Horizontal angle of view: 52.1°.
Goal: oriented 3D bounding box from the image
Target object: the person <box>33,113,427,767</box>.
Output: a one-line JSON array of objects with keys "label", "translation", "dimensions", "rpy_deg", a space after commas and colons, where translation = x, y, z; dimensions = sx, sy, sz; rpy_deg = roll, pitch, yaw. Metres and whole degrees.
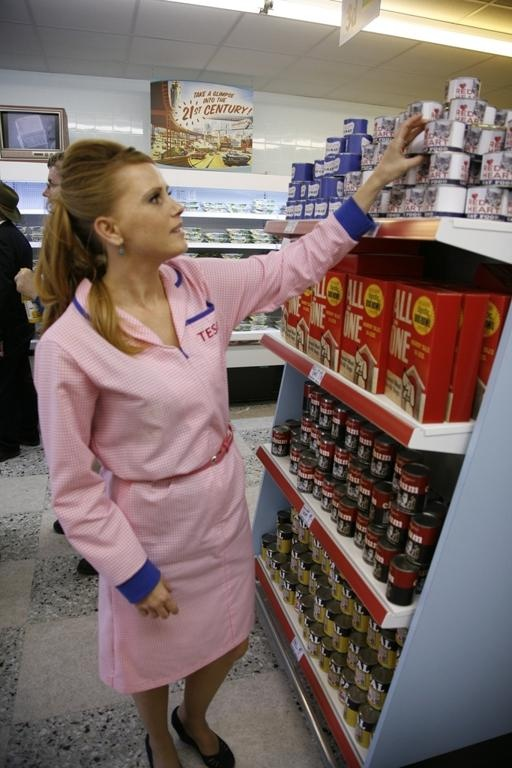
[{"label": "person", "translation": [-0.148, 0.359, 1.312], "dimensions": [0.698, 1.743, 0.380], "rpy_deg": [-4, 15, -22]}]
